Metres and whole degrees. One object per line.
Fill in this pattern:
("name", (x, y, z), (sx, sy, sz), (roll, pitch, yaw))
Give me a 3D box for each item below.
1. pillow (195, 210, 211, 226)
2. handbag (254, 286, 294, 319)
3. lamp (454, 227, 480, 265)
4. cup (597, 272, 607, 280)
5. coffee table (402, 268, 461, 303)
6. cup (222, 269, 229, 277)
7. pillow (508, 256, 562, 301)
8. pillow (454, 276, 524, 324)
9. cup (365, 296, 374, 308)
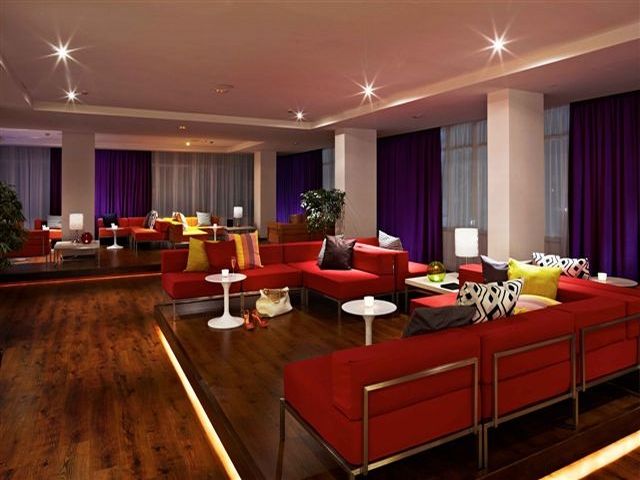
("pillow", (-3.453, -0.634, 12.635), (0.506, 0.219, 0.561), (-5, 44, -17))
("handbag", (-0.603, 0.824, 5.679), (0.497, 0.371, 0.278), (-3, -3, -43))
("lamp", (1.985, 0.036, 5.788), (0.273, 0.368, 0.238), (0, 5, 8))
("cup", (3.461, 0.449, 5.253), (0.103, 0.086, 0.110), (0, -5, 0))
("coffee table", (1.548, 0.586, 5.610), (0.456, 0.226, 0.453), (-1, 4, -33))
("cup", (-1.153, 0.402, 5.201), (0.098, 0.103, 0.097), (1, 6, 0))
("pillow", (2.038, 0.378, 4.034), (0.331, 0.314, 0.121), (9, -11, 33))
("pillow", (1.294, 0.445, 3.174), (0.474, 0.326, 0.187), (-7, 19, -6))
("cup", (0.480, 0.598, 4.144), (0.087, 0.092, 0.094), (0, -2, 0))
